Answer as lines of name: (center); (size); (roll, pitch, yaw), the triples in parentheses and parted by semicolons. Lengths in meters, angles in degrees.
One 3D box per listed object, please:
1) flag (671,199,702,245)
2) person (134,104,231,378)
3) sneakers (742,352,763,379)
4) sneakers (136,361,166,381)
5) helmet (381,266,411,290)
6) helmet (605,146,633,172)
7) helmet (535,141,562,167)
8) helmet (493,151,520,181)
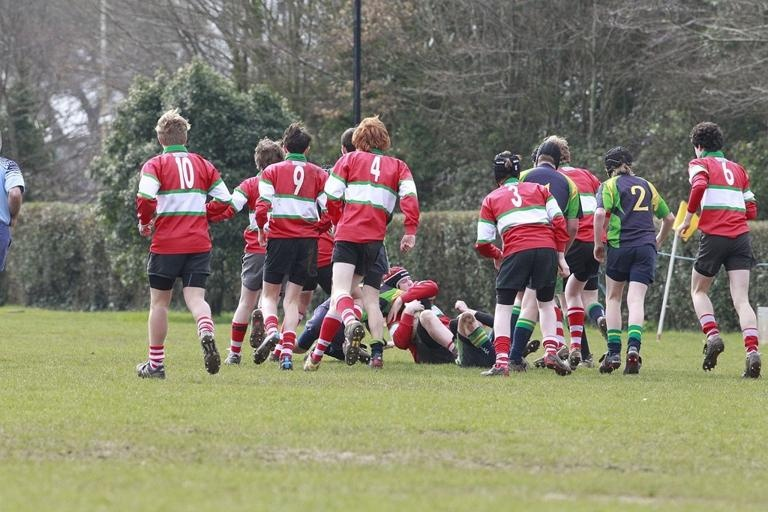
flag: (5.910, -0.625, 23.933); (0.091, 0.724, 0.868); (-24, 17, 37)
person: (-3.444, -0.229, 20.677); (1.456, 4.622, 0.699); (4, -5, -9)
sneakers: (6.359, 1.865, 21.140); (0.182, 0.576, 0.238); (1, 28, 6)
sneakers: (-3.942, 1.942, 20.721); (0.516, 0.263, 0.221); (9, 10, 39)
helmet: (0.214, 0.400, 22.776); (0.444, 0.394, 0.352); (-18, -3, 18)
helmet: (4.175, -1.756, 21.874); (0.385, 0.535, 0.520); (-2, 25, -13)
helmet: (2.896, -1.802, 21.601); (0.317, 0.479, 0.473); (10, -41, 2)
helmet: (2.143, -1.559, 21.327); (0.431, 0.575, 0.602); (3, -5, 7)
